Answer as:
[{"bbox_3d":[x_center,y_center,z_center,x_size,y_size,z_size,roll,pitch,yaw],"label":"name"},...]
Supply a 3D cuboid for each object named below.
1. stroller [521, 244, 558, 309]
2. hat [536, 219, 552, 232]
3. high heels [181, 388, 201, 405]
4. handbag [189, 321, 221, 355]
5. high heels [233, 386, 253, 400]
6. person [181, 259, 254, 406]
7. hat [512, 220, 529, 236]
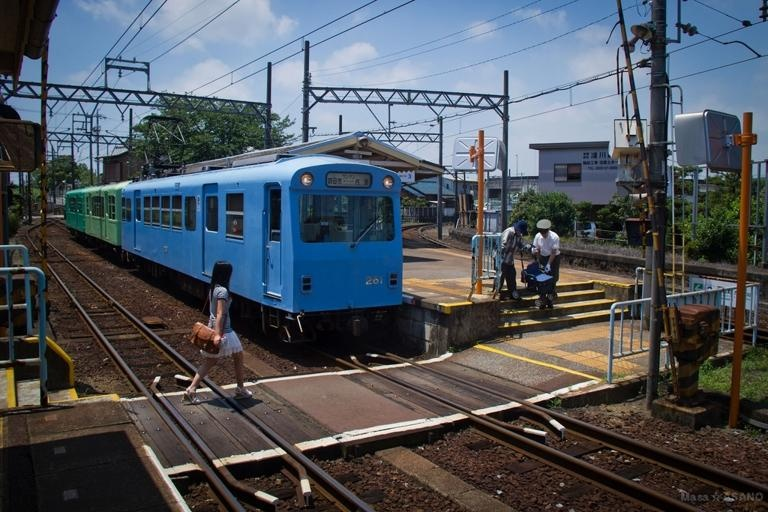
[{"bbox_3d":[3.311,0.583,13.271,0.855,1.144,1.167,-7,14,-16],"label":"stroller"},{"bbox_3d":[3.596,-0.662,13.155,0.256,0.321,0.482,3,12,9],"label":"hat"},{"bbox_3d":[-2.905,2.110,8.757,0.160,0.156,0.401,4,-1,-39],"label":"high heels"},{"bbox_3d":[-2.662,1.220,8.620,0.488,0.333,0.181,22,7,18],"label":"handbag"},{"bbox_3d":[-2.189,2.117,8.974,0.345,0.140,0.123,3,1,-21],"label":"high heels"},{"bbox_3d":[-2.573,1.140,8.794,0.978,2.112,0.672,-4,13,-20],"label":"person"},{"bbox_3d":[3.044,-0.634,13.015,0.274,0.342,0.499,3,12,11],"label":"hat"}]
